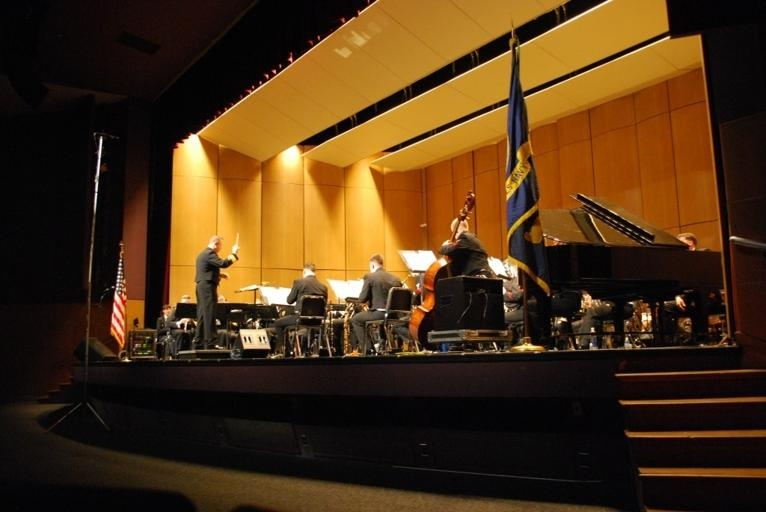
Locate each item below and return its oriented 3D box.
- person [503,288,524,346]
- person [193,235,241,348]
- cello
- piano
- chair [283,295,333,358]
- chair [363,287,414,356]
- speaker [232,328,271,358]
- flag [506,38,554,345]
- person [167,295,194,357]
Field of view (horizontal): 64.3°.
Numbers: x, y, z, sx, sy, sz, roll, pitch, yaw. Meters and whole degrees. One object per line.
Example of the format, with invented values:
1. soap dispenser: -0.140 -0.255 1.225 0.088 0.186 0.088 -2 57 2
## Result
1. person: 1.545 0.686 7.264 0.270 0.730 0.504 3 2 21
2. person: -2.382 0.479 8.696 0.557 1.656 1.157 3 -7 -17
3. cello: 0.684 0.197 7.029 0.307 1.800 0.671 18 7 38
4. piano: 2.344 0.014 6.548 1.571 1.640 1.698 -3 1 -13
5. chair: -0.961 0.911 8.142 0.542 0.796 0.573 3 -1 -25
6. chair: 0.094 0.833 7.880 0.520 0.853 0.577 1 -6 -22
7. speaker: -1.656 1.107 7.713 0.433 0.336 0.335 2 -7 -18
8. flag: 1.324 -0.584 5.600 0.366 2.816 0.742 -1 -7 15
9. person: -3.396 1.167 10.313 0.430 1.047 1.933 3 -7 -19
